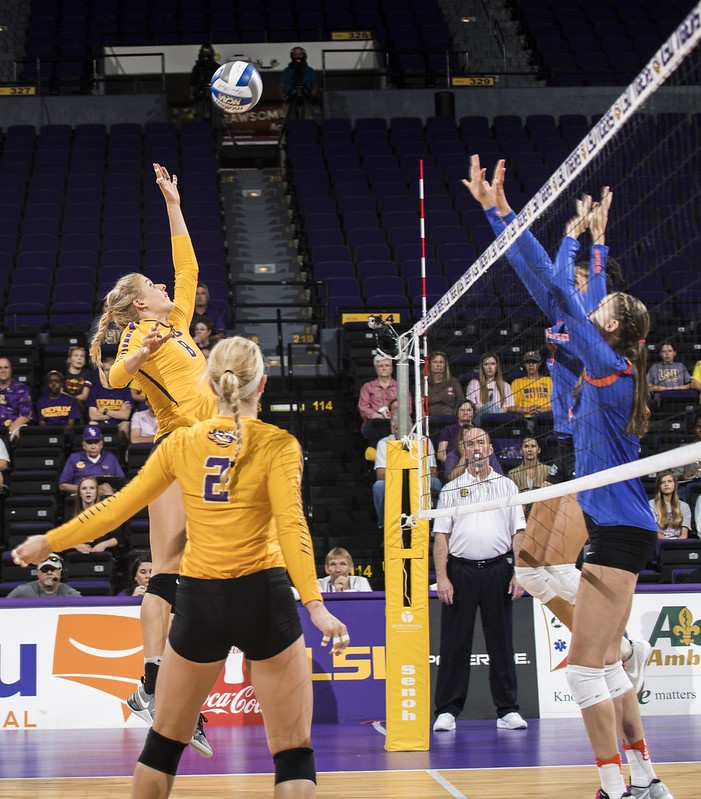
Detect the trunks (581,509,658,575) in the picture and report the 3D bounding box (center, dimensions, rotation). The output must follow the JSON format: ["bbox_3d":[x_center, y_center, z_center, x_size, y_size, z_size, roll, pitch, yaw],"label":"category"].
[{"bbox_3d":[1.119,0.617,4.670,0.225,0.236,0.369,13,-9,-29],"label":"trunks"}]

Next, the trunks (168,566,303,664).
[{"bbox_3d":[-0.405,0.779,3.836,0.533,0.304,0.236,-7,-4,18],"label":"trunks"}]

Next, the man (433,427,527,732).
[{"bbox_3d":[0.860,1.227,7.260,0.767,1.985,0.610,0,-4,-10],"label":"man"}]

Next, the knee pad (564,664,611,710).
[{"bbox_3d":[0.969,1.171,4.528,0.185,0.169,0.245,-24,-14,6],"label":"knee pad"}]

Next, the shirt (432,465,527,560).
[{"bbox_3d":[0.864,0.772,7.357,0.707,0.552,0.347,0,6,1],"label":"shirt"}]

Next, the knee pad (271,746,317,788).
[{"bbox_3d":[-0.190,1.242,3.690,0.149,0.104,0.140,1,-13,2],"label":"knee pad"}]

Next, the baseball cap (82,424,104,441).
[{"bbox_3d":[-2.342,0.311,9.812,0.129,0.092,0.182,-2,-9,-16],"label":"baseball cap"}]

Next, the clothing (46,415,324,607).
[{"bbox_3d":[-0.488,0.408,3.874,1.353,0.604,0.520,5,-5,-25],"label":"clothing"}]

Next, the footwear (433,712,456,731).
[{"bbox_3d":[0.607,2.100,7.046,0.148,0.105,0.226,0,0,4],"label":"footwear"}]

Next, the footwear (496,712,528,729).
[{"bbox_3d":[1.039,2.097,7.073,0.095,0.077,0.213,8,-15,-36],"label":"footwear"}]
